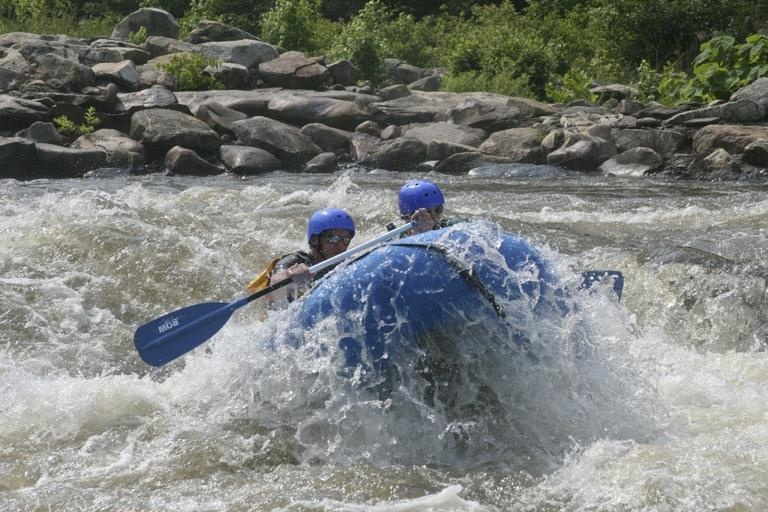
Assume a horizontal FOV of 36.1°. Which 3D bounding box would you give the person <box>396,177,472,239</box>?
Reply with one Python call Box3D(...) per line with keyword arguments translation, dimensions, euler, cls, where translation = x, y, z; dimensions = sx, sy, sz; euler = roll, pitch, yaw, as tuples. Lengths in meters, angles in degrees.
Box3D(translation=(0.995, -0.879, 21.843), dimensions=(0.924, 1.192, 1.078), euler=(-17, -9, -22), cls="person")
